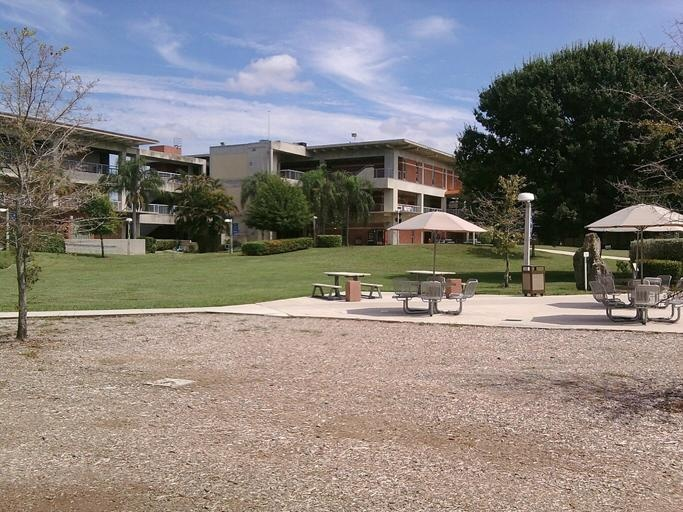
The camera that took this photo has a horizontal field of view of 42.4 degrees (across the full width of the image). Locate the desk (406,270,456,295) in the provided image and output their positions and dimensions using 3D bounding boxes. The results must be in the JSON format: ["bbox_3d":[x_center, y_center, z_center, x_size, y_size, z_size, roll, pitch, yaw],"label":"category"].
[{"bbox_3d":[2.949,1.007,28.997,0.958,0.566,1.375,1,-1,-32],"label":"desk"}]

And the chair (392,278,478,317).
[{"bbox_3d":[2.286,1.017,22.551,1.832,0.595,1.279,1,0,23],"label":"chair"}]

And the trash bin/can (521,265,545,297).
[{"bbox_3d":[6.097,0.748,27.775,0.678,0.945,0.908,0,-1,9],"label":"trash bin/can"}]
